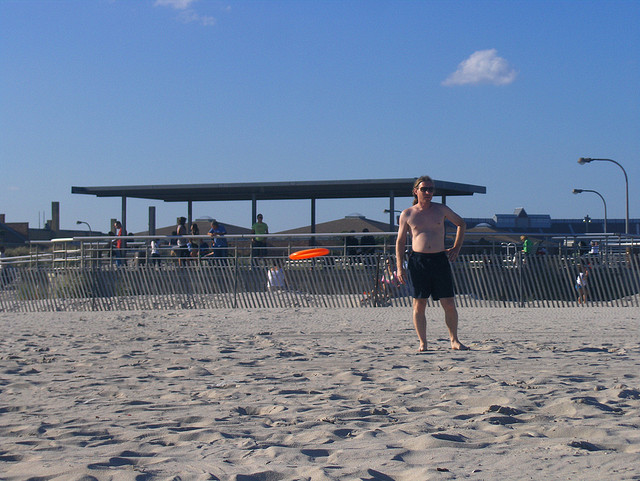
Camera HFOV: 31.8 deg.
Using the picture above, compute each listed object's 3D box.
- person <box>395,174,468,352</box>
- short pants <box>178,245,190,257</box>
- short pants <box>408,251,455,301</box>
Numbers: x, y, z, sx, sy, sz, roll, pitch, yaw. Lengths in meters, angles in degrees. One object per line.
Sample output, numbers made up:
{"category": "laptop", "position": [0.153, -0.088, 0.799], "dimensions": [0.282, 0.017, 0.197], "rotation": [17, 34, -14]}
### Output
{"category": "person", "position": [1.258, 0.282, 12.778], "dimensions": [0.786, 1.989, 0.784], "rotation": [-1, 9, 5]}
{"category": "short pants", "position": [-2.418, 0.224, 19.987], "dimensions": [0.202, 0.245, 0.253], "rotation": [1, 6, 5]}
{"category": "short pants", "position": [1.247, 0.407, 12.730], "dimensions": [0.494, 0.543, 0.229], "rotation": [-1, 9, 3]}
